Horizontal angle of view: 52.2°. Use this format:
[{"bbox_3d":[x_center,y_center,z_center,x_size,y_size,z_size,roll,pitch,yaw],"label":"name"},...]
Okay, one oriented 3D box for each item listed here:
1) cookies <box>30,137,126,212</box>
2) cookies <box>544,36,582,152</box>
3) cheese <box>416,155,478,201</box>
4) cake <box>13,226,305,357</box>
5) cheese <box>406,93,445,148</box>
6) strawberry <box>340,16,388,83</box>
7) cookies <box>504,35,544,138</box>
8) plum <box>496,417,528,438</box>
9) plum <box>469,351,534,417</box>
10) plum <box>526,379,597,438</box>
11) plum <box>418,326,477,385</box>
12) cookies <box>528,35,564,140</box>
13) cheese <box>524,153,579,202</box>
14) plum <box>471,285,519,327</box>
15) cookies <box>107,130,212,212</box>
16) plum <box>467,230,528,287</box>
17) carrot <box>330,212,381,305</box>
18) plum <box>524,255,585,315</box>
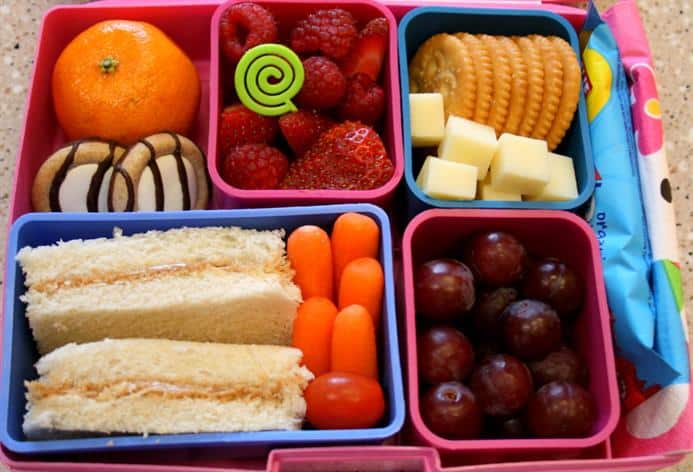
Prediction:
[{"bbox_3d":[-0.702,-0.158,1.834,0.228,0.138,0.135,2,48,-2],"label":"cookies"},{"bbox_3d":[0.583,-0.382,1.892,0.022,0.229,0.177,6,9,-8],"label":"cookies"},{"bbox_3d":[0.258,-0.139,1.777,0.106,0.078,0.114,15,-1,3],"label":"cheese"},{"bbox_3d":[-0.456,0.109,1.637,0.624,0.303,0.265,0,25,2],"label":"cake"},{"bbox_3d":[0.215,-0.313,1.908,0.105,0.126,0.118,1,2,11],"label":"cheese"},{"bbox_3d":[0.049,-0.494,1.900,0.089,0.188,0.060,13,36,-8],"label":"strawberry"},{"bbox_3d":[0.486,-0.402,1.899,0.046,0.217,0.165,5,2,-16],"label":"cookies"},{"bbox_3d":[0.389,0.453,1.664,0.049,0.057,0.029,-13,6,5],"label":"plum"},{"bbox_3d":[0.357,0.358,1.674,0.126,0.172,0.135,5,22,24],"label":"plum"},{"bbox_3d":[0.487,0.402,1.605,0.121,0.137,0.075,-11,-2,1],"label":"plum"},{"bbox_3d":[0.222,0.267,1.677,0.115,0.159,0.126,-3,7,-11],"label":"plum"},{"bbox_3d":[0.539,-0.406,1.884,0.045,0.210,0.156,5,-10,-12],"label":"cookies"},{"bbox_3d":[0.558,-0.135,1.894,0.113,0.077,0.130,4,63,1],"label":"cheese"},{"bbox_3d":[0.354,0.174,1.732,0.093,0.126,0.095,6,10,-24],"label":"plum"},{"bbox_3d":[-0.488,-0.156,1.838,0.056,0.222,0.207,15,36,42],"label":"cookies"},{"bbox_3d":[0.359,0.055,1.705,0.136,0.143,0.124,-2,16,8],"label":"plum"},{"bbox_3d":[0.030,0.056,1.783,0.107,0.277,0.117,8,33,11],"label":"carrot"},{"bbox_3d":[0.511,0.126,1.783,0.138,0.139,0.129,42,18,27],"label":"plum"}]
